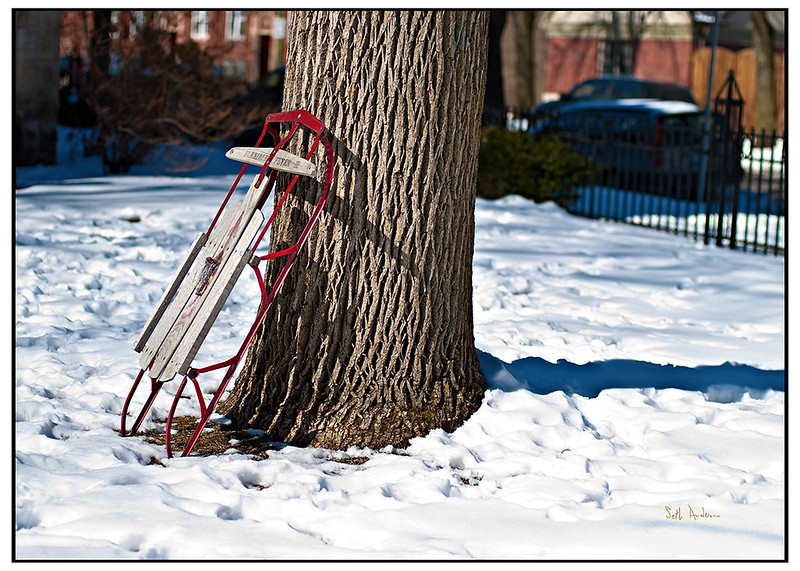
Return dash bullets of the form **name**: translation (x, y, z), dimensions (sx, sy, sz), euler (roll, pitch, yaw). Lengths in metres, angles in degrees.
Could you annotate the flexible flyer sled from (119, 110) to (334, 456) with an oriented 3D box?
- **flexible flyer sled**: translation (-1.666, -0.133, 12.350), dimensions (1.677, 3.455, 0.562), euler (28, 3, 40)
